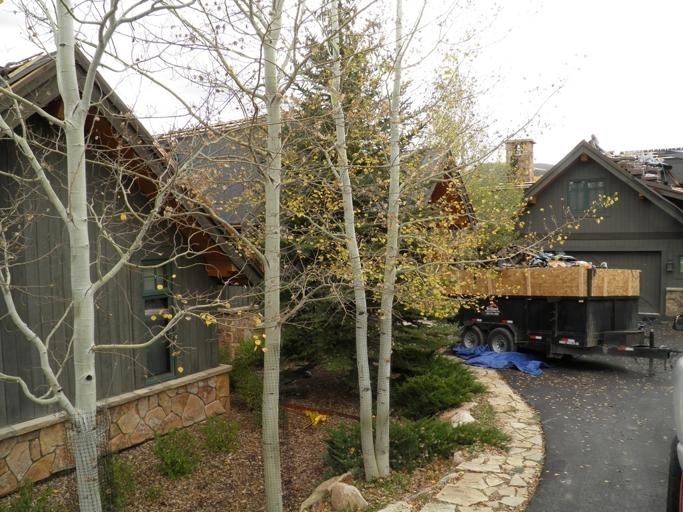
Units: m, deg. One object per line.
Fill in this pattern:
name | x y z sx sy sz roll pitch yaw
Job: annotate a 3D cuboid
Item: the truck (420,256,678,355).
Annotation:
truck | 5.966 1.436 18.782 5.333 2.119 3.249 1 1 42
